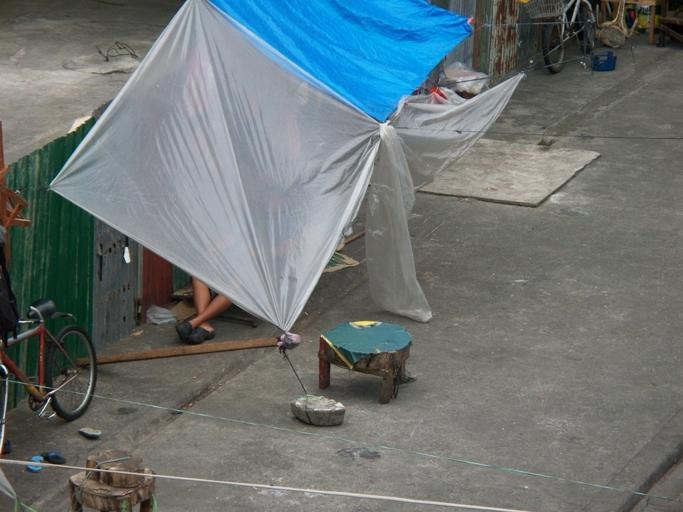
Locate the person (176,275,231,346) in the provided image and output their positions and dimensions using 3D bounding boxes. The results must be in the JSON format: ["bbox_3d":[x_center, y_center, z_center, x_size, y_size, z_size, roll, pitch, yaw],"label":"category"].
[{"bbox_3d":[-1.647,0.675,8.890,0.530,0.295,0.953,21,48,-5],"label":"person"}]

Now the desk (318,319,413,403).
[{"bbox_3d":[0.239,1.053,7.866,0.990,0.508,0.958,-2,18,-6],"label":"desk"}]
